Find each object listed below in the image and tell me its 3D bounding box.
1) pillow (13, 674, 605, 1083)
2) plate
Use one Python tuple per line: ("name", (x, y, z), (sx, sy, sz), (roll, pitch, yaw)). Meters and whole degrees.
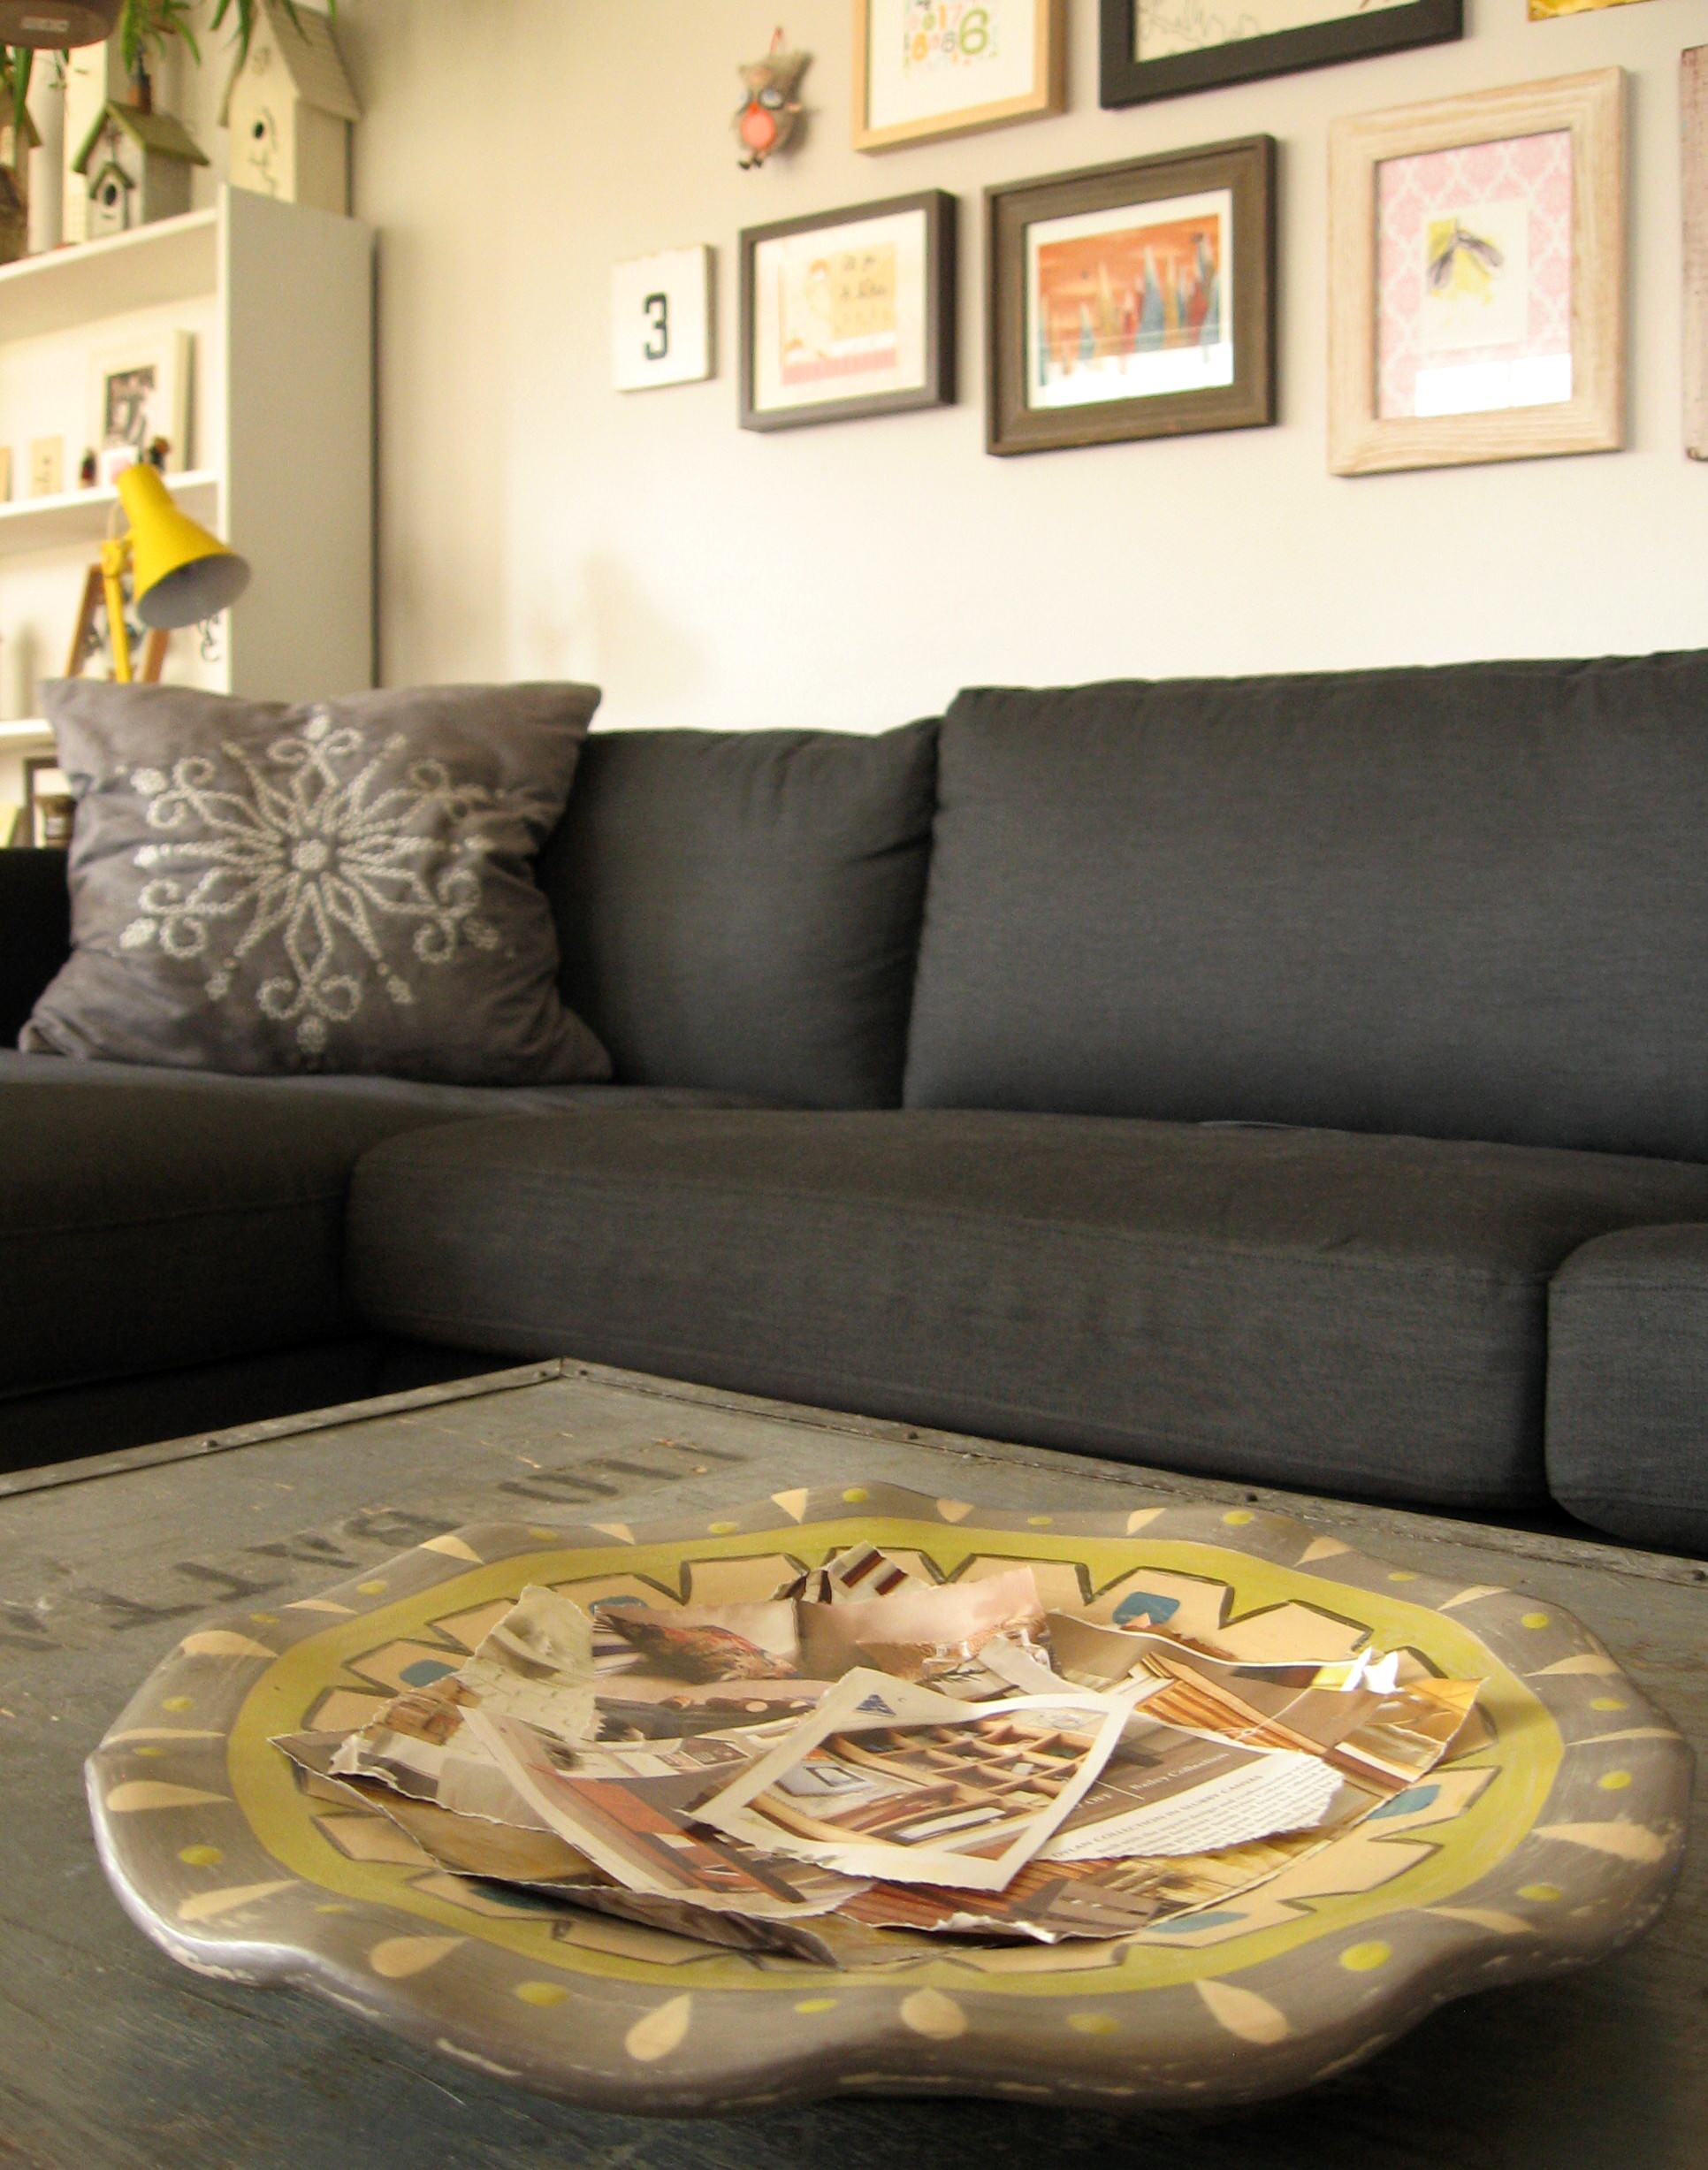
("pillow", (-0.647, -0.229, 2.184), (0.587, 0.368, 0.210), (0, -3, -2))
("plate", (0.013, 0.129, 0.387), (0.298, 0.041, 0.326), (-2, -6, 19))
